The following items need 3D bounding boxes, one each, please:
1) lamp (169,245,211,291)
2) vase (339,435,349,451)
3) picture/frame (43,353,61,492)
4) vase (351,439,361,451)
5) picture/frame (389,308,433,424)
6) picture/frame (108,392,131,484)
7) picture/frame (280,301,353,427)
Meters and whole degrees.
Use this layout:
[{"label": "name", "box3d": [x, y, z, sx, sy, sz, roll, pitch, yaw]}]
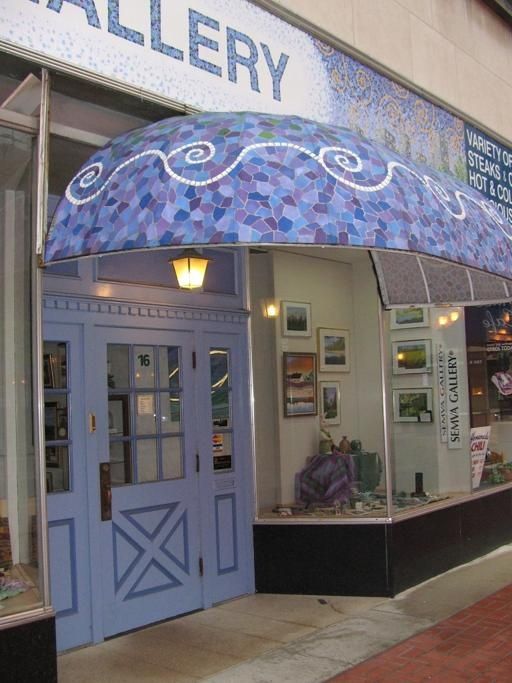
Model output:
[{"label": "lamp", "box3d": [-0.524, -0.529, 4.646, 0.285, 0.385, 0.288, -3, -4, 18]}, {"label": "vase", "box3d": [0.778, 0.910, 5.632, 0.107, 0.172, 0.117, 4, -5, 9]}, {"label": "picture/frame", "box3d": [-1.326, 0.505, 4.044, 0.075, 0.931, 0.187, -3, -5, 0]}, {"label": "vase", "box3d": [0.883, 0.930, 5.620, 0.089, 0.111, 0.098, 1, -4, -26]}, {"label": "picture/frame", "box3d": [1.461, 0.219, 6.053, 0.168, 1.134, 0.823, -6, -5, 33]}, {"label": "picture/frame", "box3d": [-0.976, 0.706, 4.513, 0.039, 0.631, 0.199, -5, -5, 29]}, {"label": "picture/frame", "box3d": [0.534, 0.186, 5.603, 0.644, 1.103, 0.146, -1, -5, -26]}]
